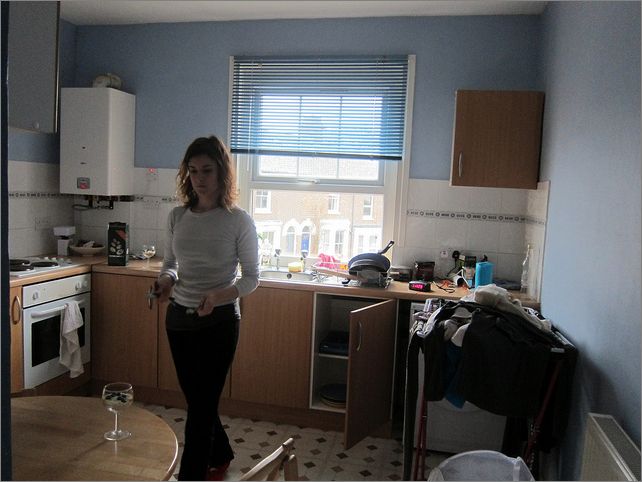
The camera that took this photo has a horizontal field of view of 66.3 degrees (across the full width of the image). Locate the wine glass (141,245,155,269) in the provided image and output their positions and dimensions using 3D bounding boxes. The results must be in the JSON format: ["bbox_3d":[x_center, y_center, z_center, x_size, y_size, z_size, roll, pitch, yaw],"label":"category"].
[{"bbox_3d":[-1.358,0.123,3.885,0.139,0.224,0.148,2,-4,-12],"label":"wine glass"}]

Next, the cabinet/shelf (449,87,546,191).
[{"bbox_3d":[1.219,-0.688,3.334,0.649,0.723,0.383,2,4,7],"label":"cabinet/shelf"}]

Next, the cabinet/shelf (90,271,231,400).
[{"bbox_3d":[-0.971,0.546,2.997,0.934,0.870,0.315,2,4,13],"label":"cabinet/shelf"}]

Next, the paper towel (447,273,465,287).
[{"bbox_3d":[1.000,0.270,3.611,0.077,0.070,0.227,1,8,-2],"label":"paper towel"}]

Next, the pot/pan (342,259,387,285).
[{"bbox_3d":[0.336,0.194,3.395,0.177,0.063,0.184,3,-36,11],"label":"pot/pan"}]

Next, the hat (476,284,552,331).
[{"bbox_3d":[1.064,0.366,2.724,0.404,0.209,0.257,4,8,22],"label":"hat"}]

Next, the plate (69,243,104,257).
[{"bbox_3d":[-1.937,0.070,4.080,0.270,0.090,0.217,-3,9,-26],"label":"plate"}]

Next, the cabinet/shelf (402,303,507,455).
[{"bbox_3d":[0.861,0.903,3.360,0.731,1.126,0.752,0,-2,6],"label":"cabinet/shelf"}]

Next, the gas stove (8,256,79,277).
[{"bbox_3d":[-1.940,0.164,3.475,0.440,0.044,0.530,-4,10,-34],"label":"gas stove"}]

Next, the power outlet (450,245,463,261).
[{"bbox_3d":[1.030,0.096,3.712,0.077,0.103,0.054,4,8,22],"label":"power outlet"}]
